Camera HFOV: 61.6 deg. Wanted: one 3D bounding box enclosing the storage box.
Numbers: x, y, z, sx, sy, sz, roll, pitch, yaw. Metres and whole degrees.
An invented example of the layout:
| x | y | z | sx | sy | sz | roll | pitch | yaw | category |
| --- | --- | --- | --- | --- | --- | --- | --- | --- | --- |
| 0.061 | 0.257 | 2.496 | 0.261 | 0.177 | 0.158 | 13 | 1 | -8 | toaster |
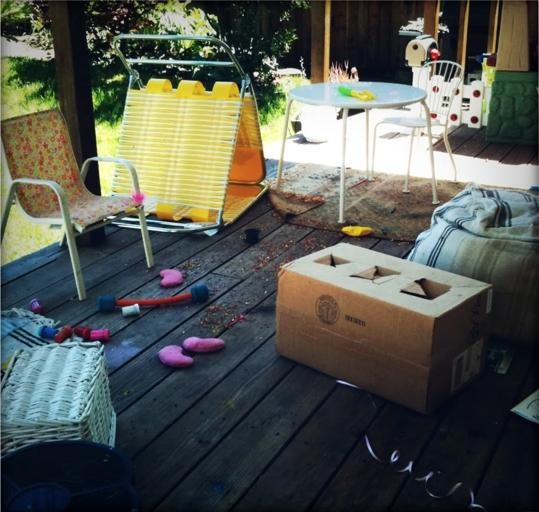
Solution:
| x | y | z | sx | sy | sz | roll | pitch | yaw | category |
| --- | --- | --- | --- | --- | --- | --- | --- | --- | --- |
| 0.415 | 0.231 | 1.705 | 0.661 | 0.399 | 0.422 | 15 | 27 | 38 | storage box |

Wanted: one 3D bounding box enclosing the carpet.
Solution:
| x | y | z | sx | sy | sz | roll | pitch | yaw | category |
| --- | --- | --- | --- | --- | --- | --- | --- | --- | --- |
| 0.681 | -0.384 | 3.315 | 1.688 | 0.034 | 1.277 | 13 | 26 | 29 | carpet |

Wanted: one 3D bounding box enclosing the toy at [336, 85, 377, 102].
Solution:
| x | y | z | sx | sy | sz | roll | pitch | yaw | category |
| --- | --- | --- | --- | --- | --- | --- | --- | --- | --- |
| 0.621 | -1.145 | 3.169 | 0.224 | 0.092 | 0.350 | -6 | 20 | -8 | toy |

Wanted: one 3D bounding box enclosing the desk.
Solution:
| x | y | z | sx | sy | sz | roll | pitch | yaw | category |
| --- | --- | --- | --- | --- | --- | --- | --- | --- | --- |
| 0.690 | -0.930 | 3.664 | 1.277 | 0.945 | 1.501 | -6 | 21 | -9 | desk |

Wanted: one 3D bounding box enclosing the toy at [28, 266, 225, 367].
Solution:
| x | y | z | sx | sy | sz | roll | pitch | yaw | category |
| --- | --- | --- | --- | --- | --- | --- | --- | --- | --- |
| -0.651 | 0.278 | 2.042 | 0.565 | 0.138 | 0.460 | 1 | 15 | -7 | toy |

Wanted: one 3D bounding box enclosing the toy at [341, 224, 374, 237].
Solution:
| x | y | z | sx | sy | sz | roll | pitch | yaw | category |
| --- | --- | --- | --- | --- | --- | --- | --- | --- | --- |
| 0.592 | -0.175 | 3.019 | 0.211 | 0.052 | 0.141 | -4 | 20 | -3 | toy |
